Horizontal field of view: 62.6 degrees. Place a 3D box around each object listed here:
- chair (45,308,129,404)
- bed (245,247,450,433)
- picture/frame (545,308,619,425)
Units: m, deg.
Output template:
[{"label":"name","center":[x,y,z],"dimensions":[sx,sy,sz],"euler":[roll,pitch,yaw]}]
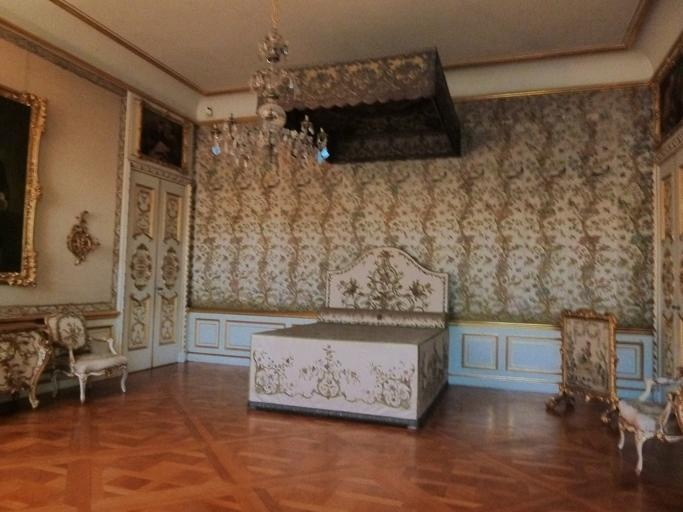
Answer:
[{"label":"chair","center":[-2.966,1.132,6.535],"dimensions":[0.740,1.012,0.731],"euler":[0,0,9]},{"label":"bed","center":[0.225,0.831,6.821],"dimensions":[2.042,1.679,2.109],"euler":[3,7,15]},{"label":"picture/frame","center":[2.705,1.272,6.277],"dimensions":[0.483,1.369,1.032],"euler":[3,-3,-29]}]
